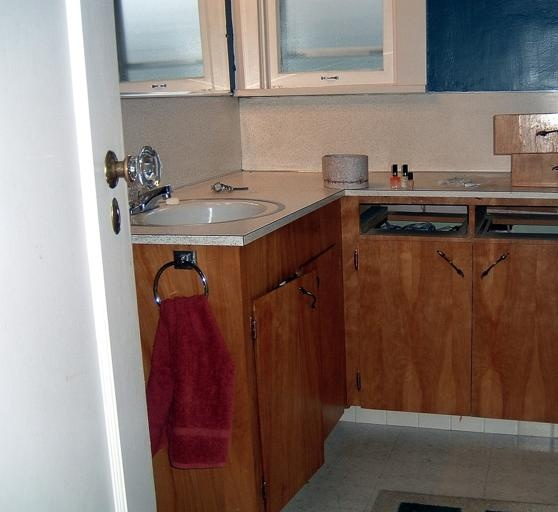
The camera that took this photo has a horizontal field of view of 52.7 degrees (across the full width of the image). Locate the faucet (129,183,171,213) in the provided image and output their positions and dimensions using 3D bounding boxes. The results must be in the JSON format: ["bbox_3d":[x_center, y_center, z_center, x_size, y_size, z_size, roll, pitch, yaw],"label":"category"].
[{"bbox_3d":[-0.397,-0.176,1.760,0.128,0.043,0.139,-10,21,22],"label":"faucet"}]

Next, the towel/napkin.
[{"bbox_3d":[-0.225,0.343,1.487,0.281,0.443,0.110,0,8,6],"label":"towel/napkin"}]

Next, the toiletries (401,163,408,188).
[{"bbox_3d":[0.505,-0.320,2.257,0.029,0.084,0.106,0,10,11],"label":"toiletries"}]

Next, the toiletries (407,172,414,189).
[{"bbox_3d":[0.520,-0.298,2.222,0.026,0.057,0.096,0,11,12],"label":"toiletries"}]
